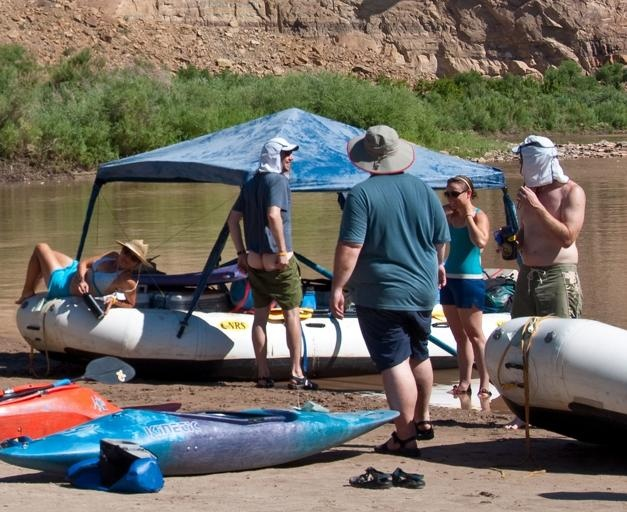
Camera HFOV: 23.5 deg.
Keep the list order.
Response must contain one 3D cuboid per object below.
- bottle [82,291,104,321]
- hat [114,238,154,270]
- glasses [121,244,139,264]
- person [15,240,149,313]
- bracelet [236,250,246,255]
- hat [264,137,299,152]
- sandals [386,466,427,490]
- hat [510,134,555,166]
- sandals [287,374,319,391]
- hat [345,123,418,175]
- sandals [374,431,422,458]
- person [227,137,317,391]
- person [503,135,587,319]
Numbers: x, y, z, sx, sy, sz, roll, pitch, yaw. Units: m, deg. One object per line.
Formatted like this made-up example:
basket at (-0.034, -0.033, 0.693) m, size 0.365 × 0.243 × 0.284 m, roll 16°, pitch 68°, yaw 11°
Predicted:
bottle at (-3.620, 0.826, 24.320) m, size 0.580 × 0.140 × 0.165 m, roll 45°, pitch 46°, yaw 17°
hat at (-2.848, 0.029, 24.512) m, size 0.616 × 0.227 × 0.538 m, roll 38°, pitch -5°, yaw -39°
glasses at (-3.031, -0.041, 24.451) m, size 0.229 × 0.143 × 0.293 m, roll 41°, pitch 3°, yaw -12°
person at (-3.819, 0.289, 24.634) m, size 1.728 × 0.836 × 1.345 m, roll 9°, pitch 10°, yaw 17°
bracelet at (-1.204, -0.052, 24.193) m, size 0.096 × 0.086 × 0.034 m, roll 2°, pitch 44°, yaw 11°
hat at (-0.541, -1.782, 24.044) m, size 0.443 × 0.150 × 0.263 m, roll 0°, pitch 5°, yaw -7°
sandals at (1.319, 3.226, 21.757) m, size 0.442 × 0.151 × 0.248 m, roll 3°, pitch 24°, yaw 11°
hat at (3.308, -1.641, 22.940) m, size 0.587 × 0.234 × 0.386 m, roll -2°, pitch 1°, yaw 13°
sandals at (-0.242, 2.064, 24.235) m, size 0.552 × 0.217 × 0.185 m, roll 2°, pitch 1°, yaw -20°
hat at (0.955, -1.560, 22.439) m, size 0.868 × 0.363 × 0.828 m, roll 27°, pitch 50°, yaw 17°
sandals at (1.241, 2.828, 22.393) m, size 0.734 × 0.251 × 0.286 m, roll 5°, pitch 3°, yaw 29°
person at (-0.663, 0.141, 24.125) m, size 0.989 × 4.025 × 0.545 m, roll -1°, pitch 9°, yaw -2°
person at (3.518, -0.428, 22.758) m, size 1.034 × 2.732 × 0.734 m, roll 1°, pitch 9°, yaw 10°
